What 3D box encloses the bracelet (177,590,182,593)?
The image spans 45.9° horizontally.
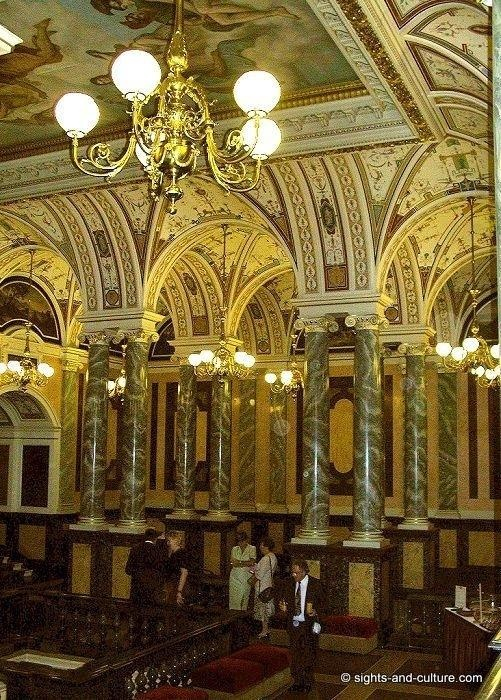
[{"bbox_3d":[-0.919,3.160,7.719,0.060,0.045,0.061,3,-13,-5],"label":"bracelet"}]

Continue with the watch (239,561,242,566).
[{"bbox_3d":[-0.130,3.137,8.690,0.041,0.076,0.026,-1,-11,2],"label":"watch"}]

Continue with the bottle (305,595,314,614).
[{"bbox_3d":[0.545,2.365,5.497,0.085,0.131,0.089,-1,5,0],"label":"bottle"}]
